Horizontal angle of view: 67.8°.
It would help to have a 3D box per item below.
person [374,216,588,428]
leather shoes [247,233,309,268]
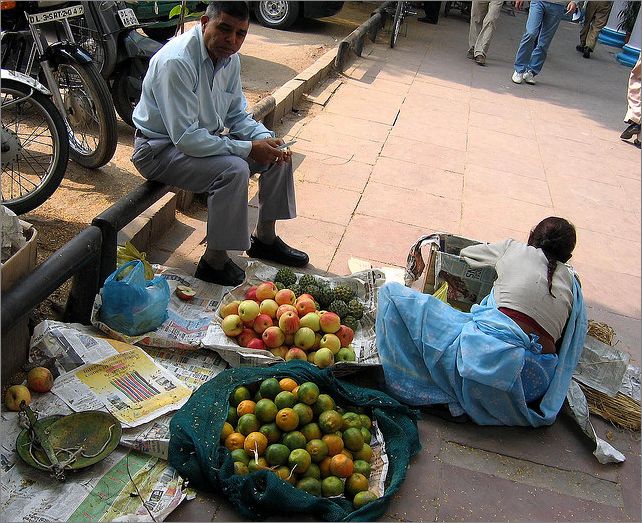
[{"bbox_3d":[0.994,0.359,2.788,1.249,0.938,0.858,-2,38,-14],"label":"person"},{"bbox_3d":[-0.341,-0.082,3.856,0.563,0.248,0.205,14,25,2],"label":"leather shoes"}]
